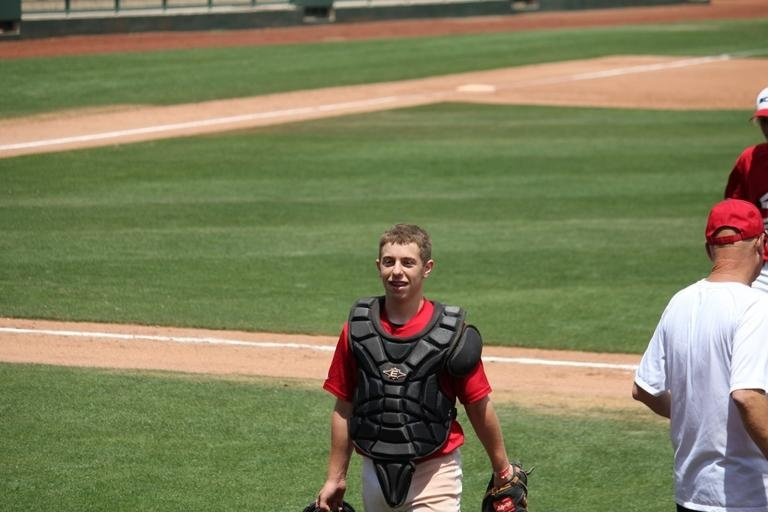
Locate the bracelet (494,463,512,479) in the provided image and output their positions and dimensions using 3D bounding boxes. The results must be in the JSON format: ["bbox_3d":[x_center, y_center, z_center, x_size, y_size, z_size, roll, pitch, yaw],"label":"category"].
[{"bbox_3d":[1.584,2.804,24.338,0.220,0.111,0.169,-8,5,32],"label":"bracelet"}]
